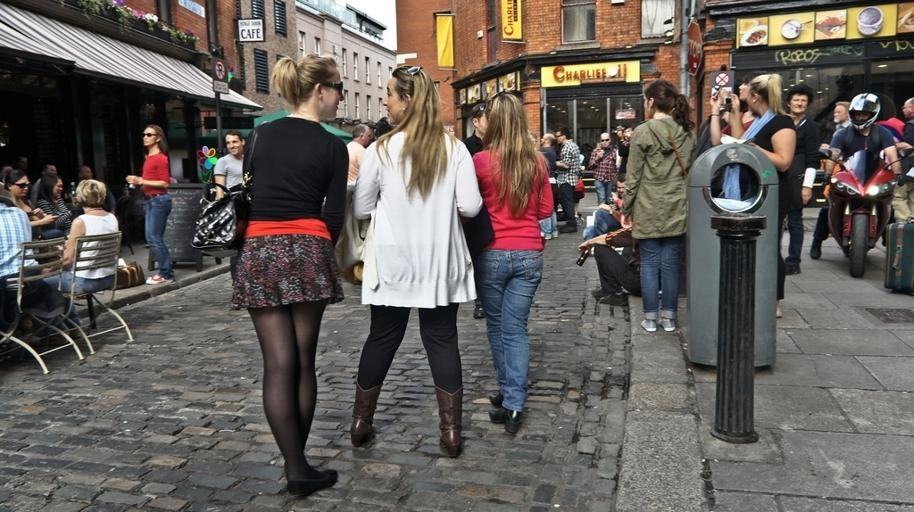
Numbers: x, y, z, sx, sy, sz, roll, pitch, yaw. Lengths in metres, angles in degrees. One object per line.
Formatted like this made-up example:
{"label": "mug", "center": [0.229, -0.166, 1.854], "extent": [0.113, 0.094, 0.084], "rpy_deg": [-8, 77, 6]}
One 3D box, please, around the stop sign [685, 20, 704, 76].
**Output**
{"label": "stop sign", "center": [5.249, -4.567, 14.644], "extent": [0.248, 1.147, 0.942], "rpy_deg": [1, 11, 17]}

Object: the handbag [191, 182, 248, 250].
{"label": "handbag", "center": [-2.021, -0.321, 5.737], "extent": [0.492, 0.561, 0.206], "rpy_deg": [-4, 12, -13]}

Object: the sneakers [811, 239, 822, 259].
{"label": "sneakers", "center": [6.568, -0.076, 12.082], "extent": [0.170, 0.423, 0.197], "rpy_deg": [2, -10, 9]}

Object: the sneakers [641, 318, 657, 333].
{"label": "sneakers", "center": [2.432, 0.880, 8.372], "extent": [0.109, 0.129, 0.207], "rpy_deg": [-1, 11, 1]}

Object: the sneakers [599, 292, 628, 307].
{"label": "sneakers", "center": [2.371, 0.659, 9.886], "extent": [0.431, 0.258, 0.143], "rpy_deg": [5, 7, 34]}

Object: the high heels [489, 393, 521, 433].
{"label": "high heels", "center": [0.502, 1.581, 6.658], "extent": [0.182, 0.212, 0.479], "rpy_deg": [-3, 13, -17]}

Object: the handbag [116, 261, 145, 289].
{"label": "handbag", "center": [-5.678, 0.364, 11.629], "extent": [0.244, 0.345, 0.570], "rpy_deg": [0, 1, 15]}

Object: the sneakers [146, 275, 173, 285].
{"label": "sneakers", "center": [-5.314, 0.452, 12.084], "extent": [0.464, 0.178, 0.185], "rpy_deg": [7, -8, -41]}

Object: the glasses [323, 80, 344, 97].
{"label": "glasses", "center": [-1.083, -1.481, 5.924], "extent": [0.187, 0.050, 0.169], "rpy_deg": [-1, 5, -8]}

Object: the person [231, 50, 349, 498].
{"label": "person", "center": [-1.366, 0.153, 5.858], "extent": [0.783, 3.766, 0.995], "rpy_deg": [6, 14, 33]}

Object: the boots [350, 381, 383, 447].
{"label": "boots", "center": [-0.908, 1.522, 6.518], "extent": [0.314, 0.521, 0.577], "rpy_deg": [10, -5, -4]}

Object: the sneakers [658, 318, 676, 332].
{"label": "sneakers", "center": [2.666, 0.867, 8.355], "extent": [0.114, 0.103, 0.268], "rpy_deg": [0, 8, 13]}

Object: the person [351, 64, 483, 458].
{"label": "person", "center": [-0.376, 0.072, 6.168], "extent": [1.263, 3.550, 0.701], "rpy_deg": [-2, 12, 3]}

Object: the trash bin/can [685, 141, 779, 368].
{"label": "trash bin/can", "center": [2.951, 0.022, 7.116], "extent": [0.948, 2.380, 0.518], "rpy_deg": [1, 12, 17]}
